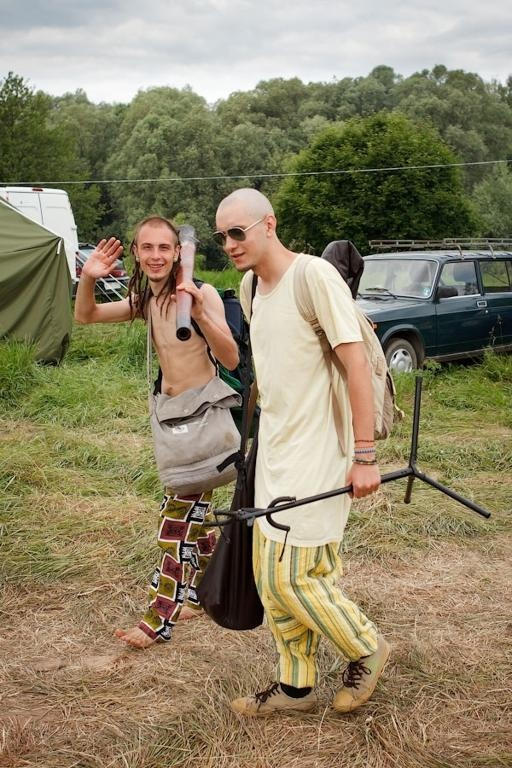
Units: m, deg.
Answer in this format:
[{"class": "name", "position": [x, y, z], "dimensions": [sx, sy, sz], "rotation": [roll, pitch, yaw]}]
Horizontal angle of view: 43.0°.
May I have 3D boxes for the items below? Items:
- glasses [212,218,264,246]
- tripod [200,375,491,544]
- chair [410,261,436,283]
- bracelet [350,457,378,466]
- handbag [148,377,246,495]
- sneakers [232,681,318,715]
[{"class": "glasses", "position": [-0.061, -0.419, 1.818], "dimensions": [0.096, 0.030, 0.100], "rotation": [-5, 22, 46]}, {"class": "tripod", "position": [0.194, 0.199, 1.782], "dimensions": [0.656, 0.405, 0.421], "rotation": [-8, 5, -13]}, {"class": "chair", "position": [2.084, -1.444, 8.125], "dimensions": [0.340, 0.246, 0.115], "rotation": [11, -5, 41]}, {"class": "bracelet", "position": [0.291, 0.202, 1.736], "dimensions": [0.062, 0.026, 0.052], "rotation": [0, 7, -1]}, {"class": "handbag", "position": [-0.213, 0.196, 2.532], "dimensions": [0.384, 0.464, 0.204], "rotation": [-18, -19, 6]}, {"class": "sneakers", "position": [0.048, 1.029, 2.150], "dimensions": [0.315, 0.119, 0.103], "rotation": [1, -6, 0]}]
